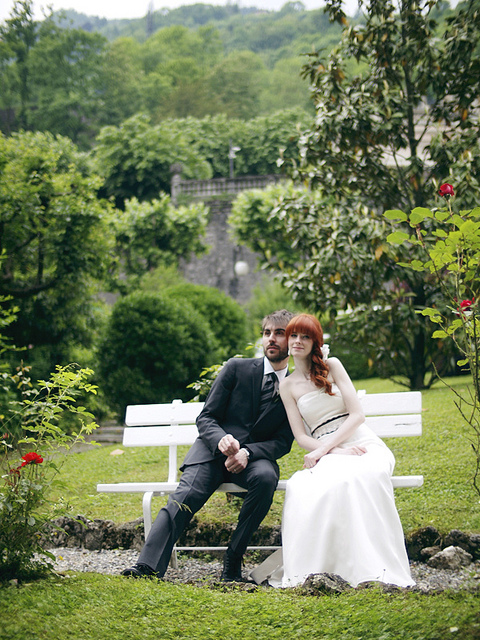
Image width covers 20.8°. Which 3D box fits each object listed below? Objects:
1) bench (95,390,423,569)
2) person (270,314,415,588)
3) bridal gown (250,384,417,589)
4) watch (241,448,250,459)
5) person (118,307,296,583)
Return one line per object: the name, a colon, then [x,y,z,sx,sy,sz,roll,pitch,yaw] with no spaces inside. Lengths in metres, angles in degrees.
bench: [0.185,1.452,11.479,2.827,1.621,1.048,-3,-2,15]
person: [0.852,1.037,10.938,1.048,2.231,0.992,-3,0,7]
bridal gown: [0.803,1.367,10.818,1.201,1.636,0.828,-3,0,7]
watch: [0.060,1.128,11.081,0.063,0.089,0.062,-3,0,22]
person: [-0.109,1.063,11.094,1.299,2.295,0.758,-3,0,-1]
